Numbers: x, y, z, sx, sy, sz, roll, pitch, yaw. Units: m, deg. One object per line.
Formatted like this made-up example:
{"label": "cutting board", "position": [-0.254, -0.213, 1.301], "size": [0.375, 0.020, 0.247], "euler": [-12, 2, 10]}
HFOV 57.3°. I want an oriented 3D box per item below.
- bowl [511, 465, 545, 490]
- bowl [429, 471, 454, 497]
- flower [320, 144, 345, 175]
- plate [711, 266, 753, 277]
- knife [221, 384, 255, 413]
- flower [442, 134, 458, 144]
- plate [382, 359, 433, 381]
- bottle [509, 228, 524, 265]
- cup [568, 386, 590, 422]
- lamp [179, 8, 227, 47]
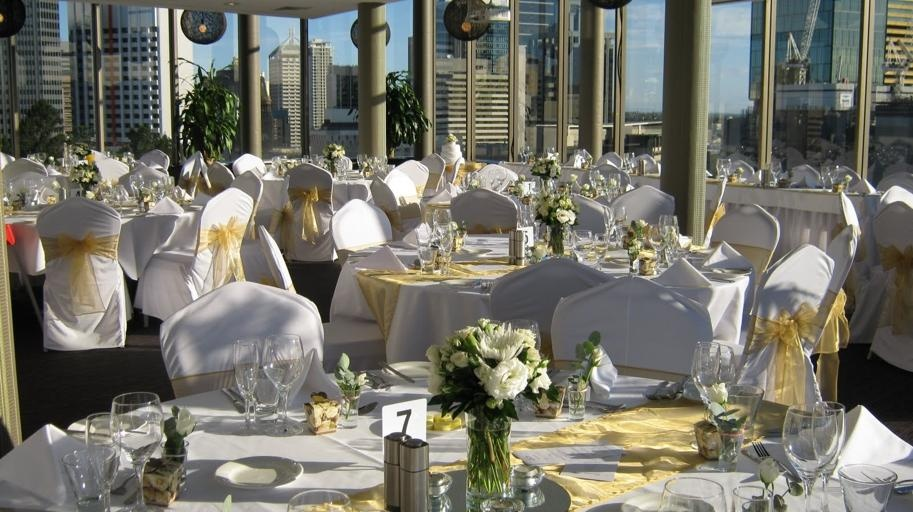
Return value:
{"label": "bowl", "position": [0.394, 1.255, 4.764], "size": [0.117, 0.061, 0.130], "euler": [5, 9, 21]}
{"label": "bowl", "position": [-0.089, 1.280, 4.734], "size": [0.148, 0.115, 0.088], "euler": [-2, 6, -13]}
{"label": "flower", "position": [-1.833, -1.448, 12.529], "size": [0.355, 0.553, 0.419], "euler": [-1, 9, -1]}
{"label": "plate", "position": [2.241, 0.129, 6.785], "size": [0.332, 0.046, 0.193], "euler": [0, 6, 8]}
{"label": "knife", "position": [-1.402, 0.894, 5.274], "size": [0.086, 0.055, 0.286], "euler": [-1, 24, -27]}
{"label": "flower", "position": [-0.138, -2.039, 14.350], "size": [0.251, 0.224, 0.283], "euler": [0, 1, 3]}
{"label": "plate", "position": [-0.309, 0.744, 5.552], "size": [0.290, 0.099, 0.315], "euler": [0, 6, 14]}
{"label": "bottle", "position": [0.497, -0.072, 7.035], "size": [0.136, 0.301, 0.092], "euler": [0, 5, 12]}
{"label": "cup", "position": [0.747, 0.912, 5.215], "size": [0.112, 0.204, 0.119], "euler": [-1, 7, 0]}
{"label": "lamp", "position": [-4.564, -4.169, 15.003], "size": [0.818, 0.237, 0.900], "euler": [-5, -10, 11]}
